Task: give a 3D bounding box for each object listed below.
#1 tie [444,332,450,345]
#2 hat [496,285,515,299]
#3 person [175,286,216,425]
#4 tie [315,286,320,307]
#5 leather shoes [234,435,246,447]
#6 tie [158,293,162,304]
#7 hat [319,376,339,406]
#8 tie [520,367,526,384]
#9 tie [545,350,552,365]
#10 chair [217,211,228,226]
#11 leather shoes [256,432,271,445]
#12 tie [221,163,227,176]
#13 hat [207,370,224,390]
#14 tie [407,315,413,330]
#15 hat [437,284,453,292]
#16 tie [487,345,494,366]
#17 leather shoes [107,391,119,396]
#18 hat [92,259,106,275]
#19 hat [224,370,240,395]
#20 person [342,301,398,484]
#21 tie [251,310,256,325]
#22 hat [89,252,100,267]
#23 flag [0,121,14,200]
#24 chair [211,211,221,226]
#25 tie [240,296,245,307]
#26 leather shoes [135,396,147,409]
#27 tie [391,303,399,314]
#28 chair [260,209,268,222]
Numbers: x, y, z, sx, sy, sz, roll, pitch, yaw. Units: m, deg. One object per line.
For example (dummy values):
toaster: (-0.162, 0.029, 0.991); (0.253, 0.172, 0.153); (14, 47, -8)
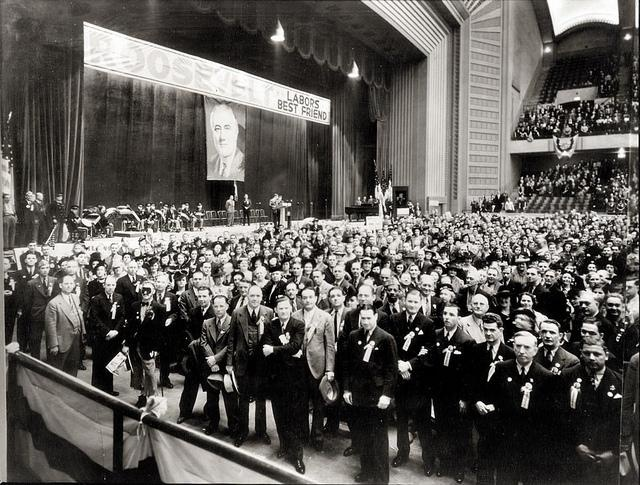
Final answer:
tie: (1.152, 0.857, 5.476); (0.057, 0.087, 0.019); (-14, -17, 41)
hat: (1.768, 0.467, 5.757); (0.154, 0.095, 0.189); (1, 1, 22)
person: (-1.284, 1.129, 6.144); (0.437, 1.582, 0.393); (-4, -10, -12)
tie: (-0.022, 0.523, 5.946); (0.040, 0.133, 0.088); (-2, 0, 5)
leather shoes: (-0.760, 1.870, 5.689); (0.049, 0.056, 0.124); (8, 12, 13)
tie: (-1.642, 0.570, 6.181); (0.045, 0.083, 0.028); (-3, -11, 3)
hat: (0.074, 1.375, 5.644); (0.178, 0.262, 0.085); (-3, -17, -38)
tie: (1.800, 1.170, 5.332); (0.036, 0.112, 0.066); (1, -24, 21)
tie: (2.010, 1.009, 5.321); (0.016, 0.079, 0.057); (5, 1, 4)
chair: (-1.037, -0.268, 6.418); (0.120, 0.214, 0.126); (-1, 4, -21)
leather shoes: (-0.536, 1.856, 5.750); (0.140, 0.153, 0.077); (0, 1, 15)
tie: (-1.021, -0.786, 6.387); (0.033, 0.167, 0.041); (1, -3, 36)
hat: (-1.013, 1.336, 5.844); (0.121, 0.139, 0.160); (-5, -12, 42)
tie: (0.832, 0.728, 5.570); (0.050, 0.110, 0.030); (-1, -8, 44)
hat: (1.197, 0.431, 5.777); (0.152, 0.069, 0.121); (1, 1, 22)
tie: (1.527, 0.996, 5.363); (0.065, 0.152, 0.018); (1, 1, 17)
leather shoes: (-2.124, 1.551, 6.193); (0.127, 0.046, 0.044); (1, 1, 28)
hat: (-2.298, 0.250, 6.274); (0.120, 0.147, 0.054); (10, 1, 2)
hat: (-0.855, 1.359, 5.869); (0.115, 0.218, 0.125); (-1, 5, 17)
person: (0.429, 1.352, 5.436); (0.506, 1.580, 0.246); (1, 1, 6)
tie: (-0.633, 0.712, 5.775); (0.065, 0.127, 0.029); (-2, -6, 15)
hat: (-2.353, 0.176, 6.290); (0.101, 0.158, 0.051); (7, -6, -7)
flag: (-3.244, -0.898, 6.254); (0.116, 0.853, 0.105); (0, 1, -31)
chair: (-1.110, -0.264, 6.386); (0.117, 0.196, 0.126); (0, 1, -16)
tie: (-0.751, 0.574, 5.871); (0.023, 0.114, 0.030); (2, -31, 26)
leather shoes: (-1.805, 1.593, 6.065); (0.124, 0.110, 0.075); (1, 1, 31)
tie: (0.724, 0.622, 5.752); (0.053, 0.086, 0.022); (7, -3, 22)
chair: (-0.603, -0.294, 6.492); (0.095, 0.188, 0.113); (-1, 2, -17)
